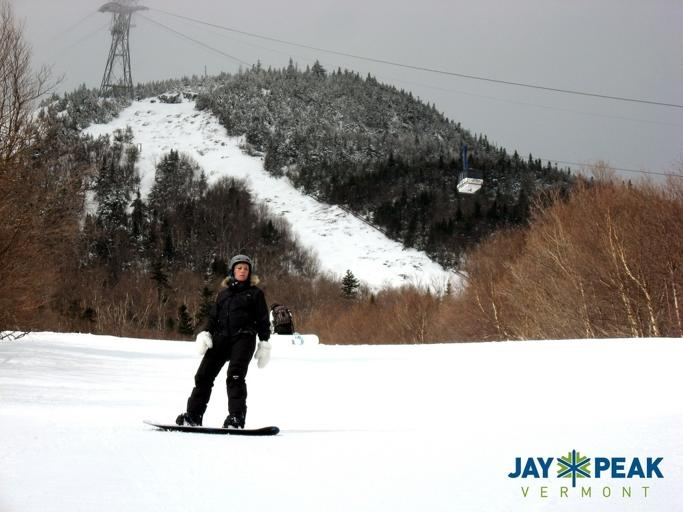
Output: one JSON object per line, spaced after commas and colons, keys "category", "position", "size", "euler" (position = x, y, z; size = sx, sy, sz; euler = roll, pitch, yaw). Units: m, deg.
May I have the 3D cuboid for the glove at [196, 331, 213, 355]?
{"category": "glove", "position": [-2.668, 1.706, 16.509], "size": [0.318, 0.436, 0.179], "euler": [35, -29, -23]}

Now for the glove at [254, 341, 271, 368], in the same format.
{"category": "glove", "position": [-1.583, 1.960, 17.005], "size": [0.327, 0.538, 0.198], "euler": [-3, 11, -29]}

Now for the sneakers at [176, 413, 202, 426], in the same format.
{"category": "sneakers", "position": [-2.927, 3.201, 16.424], "size": [0.516, 0.278, 0.209], "euler": [4, -16, 21]}

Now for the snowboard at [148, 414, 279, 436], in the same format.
{"category": "snowboard", "position": [-2.601, 3.383, 16.753], "size": [2.590, 0.342, 0.352], "euler": [-1, -39, 0]}

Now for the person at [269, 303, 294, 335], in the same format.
{"category": "person", "position": [-2.708, 2.857, 38.626], "size": [0.850, 1.522, 1.306], "euler": [1, -7, -10]}
